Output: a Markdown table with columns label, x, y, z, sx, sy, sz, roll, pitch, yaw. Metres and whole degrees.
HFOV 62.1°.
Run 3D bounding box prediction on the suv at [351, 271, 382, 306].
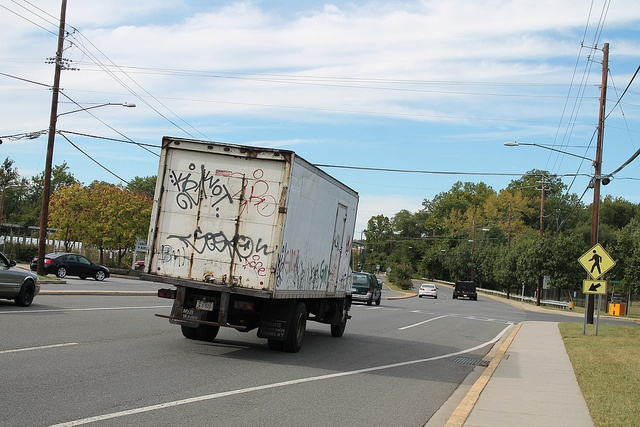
| label | x | y | z | sx | sy | sz | roll | pitch | yaw |
| --- | --- | --- | --- | --- | --- | --- | --- | --- | --- |
| suv | 3.059 | 5.066 | 35.858 | 1.592 | 1.280 | 2.953 | -1 | 0 | 15 |

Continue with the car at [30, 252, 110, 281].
| label | x | y | z | sx | sy | sz | roll | pitch | yaw |
| --- | --- | --- | --- | --- | --- | --- | --- | --- | --- |
| car | -16.920 | 3.736 | 35.958 | 2.012 | 1.871 | 5.064 | -1 | -4 | 25 |

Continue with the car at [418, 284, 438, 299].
| label | x | y | z | sx | sy | sz | roll | pitch | yaw |
| --- | --- | --- | --- | --- | --- | --- | --- | --- | --- |
| car | 12.566 | 9.105 | 62.004 | 1.907 | 1.701 | 3.237 | 5 | -8 | 8 |

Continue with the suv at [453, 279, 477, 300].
| label | x | y | z | sx | sy | sz | roll | pitch | yaw |
| --- | --- | --- | --- | --- | --- | --- | --- | --- | --- |
| suv | 17.444 | 9.380 | 64.266 | 2.466 | 2.247 | 2.830 | 5 | -8 | 11 |

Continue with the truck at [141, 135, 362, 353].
| label | x | y | z | sx | sy | sz | roll | pitch | yaw |
| --- | --- | --- | --- | --- | --- | --- | --- | --- | --- |
| truck | -1.378 | 1.081 | 14.094 | 2.975 | 4.986 | 5.641 | 0 | -9 | 40 |
